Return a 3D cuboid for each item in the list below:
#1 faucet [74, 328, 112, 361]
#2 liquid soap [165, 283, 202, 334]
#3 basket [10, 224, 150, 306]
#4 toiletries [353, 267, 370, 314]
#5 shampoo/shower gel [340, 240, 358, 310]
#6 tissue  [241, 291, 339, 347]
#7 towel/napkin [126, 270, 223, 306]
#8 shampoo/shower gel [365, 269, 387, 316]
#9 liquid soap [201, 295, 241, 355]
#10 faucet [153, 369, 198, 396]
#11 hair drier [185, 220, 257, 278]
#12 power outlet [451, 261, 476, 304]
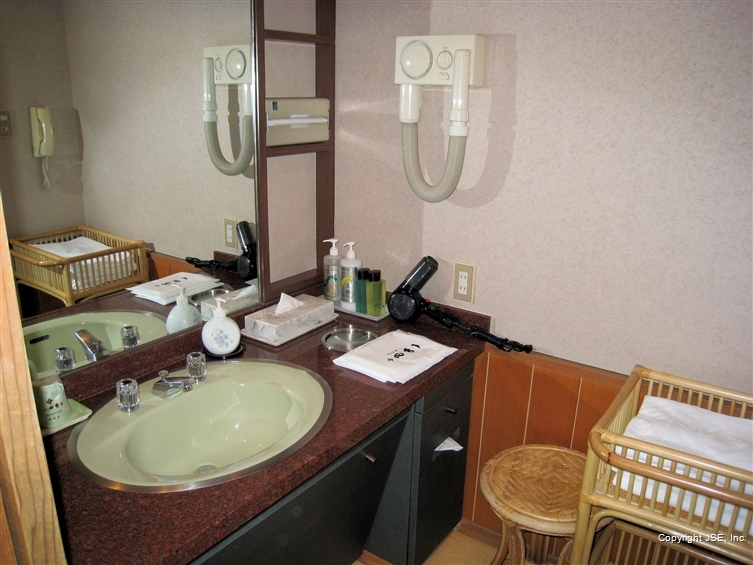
[{"bbox_3d":[-0.824,0.180,1.629,0.027,0.093,0.058,-9,21,31],"label":"faucet"},{"bbox_3d":[-0.647,0.080,1.864,0.121,0.197,0.123,-3,12,-16],"label":"liquid soap"},{"bbox_3d":[-0.909,-0.106,1.644,0.281,0.181,0.394,20,23,34],"label":"basket"},{"bbox_3d":[-0.057,0.032,2.223,0.067,0.160,0.064,4,1,-42],"label":"toiletries"},{"bbox_3d":[-0.107,-0.031,2.253,0.079,0.269,0.078,-6,12,-37],"label":"shampoo/shower gel"},{"bbox_3d":[-0.320,0.126,2.085,0.200,0.083,0.360,12,20,33],"label":"tissue "},{"bbox_3d":[-0.676,0.014,1.831,0.160,0.039,0.208,17,21,32],"label":"towel/napkin"},{"bbox_3d":[-0.010,0.034,2.199,0.080,0.176,0.077,5,18,27],"label":"shampoo/shower gel"},{"bbox_3d":[-0.518,0.137,1.840,0.117,0.177,0.120,0,14,-15],"label":"liquid soap"},{"bbox_3d":[-0.608,0.286,1.647,0.087,0.031,0.070,4,13,11],"label":"faucet"},{"bbox_3d":[-0.554,-0.121,1.989,0.201,0.200,0.137,13,22,12],"label":"hair drier"},{"bbox_3d":[0.341,-0.012,2.164,0.119,0.218,0.020,14,21,42],"label":"power outlet"}]
